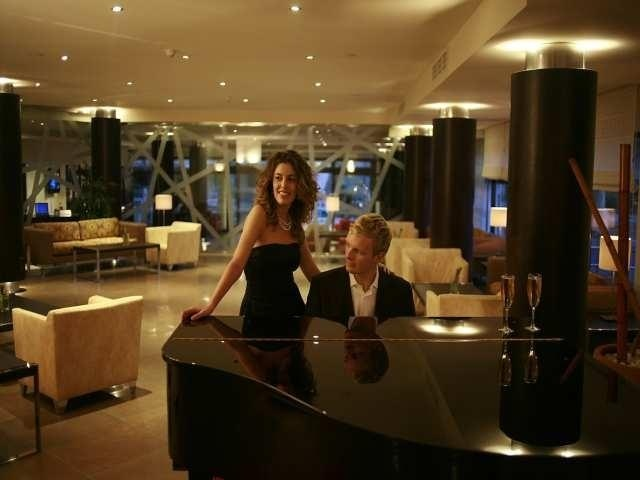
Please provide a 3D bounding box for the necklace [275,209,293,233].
[{"bbox_3d":[-0.232,-0.133,3.627,0.034,0.125,0.087,-12,-6,41],"label":"necklace"}]

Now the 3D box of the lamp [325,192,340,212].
[{"bbox_3d":[0.290,-0.947,14.015,0.345,0.432,0.365,-1,-2,4],"label":"lamp"}]

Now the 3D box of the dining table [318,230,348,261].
[{"bbox_3d":[0.283,0.114,14.109,0.678,0.700,0.716,0,0,1],"label":"dining table"}]

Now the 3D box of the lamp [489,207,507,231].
[{"bbox_3d":[3.548,-0.464,10.903,0.258,0.359,0.571,4,14,10],"label":"lamp"}]

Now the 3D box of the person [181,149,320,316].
[{"bbox_3d":[-0.327,-0.020,3.573,0.654,1.123,0.355,-2,13,-12],"label":"person"}]
